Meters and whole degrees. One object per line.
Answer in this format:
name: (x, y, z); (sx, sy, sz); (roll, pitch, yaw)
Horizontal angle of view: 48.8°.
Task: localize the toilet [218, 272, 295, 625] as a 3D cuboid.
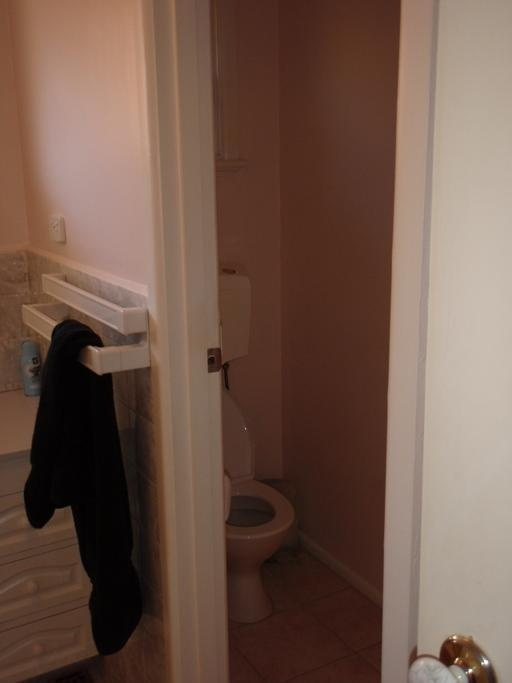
toilet: (0.013, 0.410, 1.999); (0.253, 1.336, 0.678); (-1, 9, -2)
